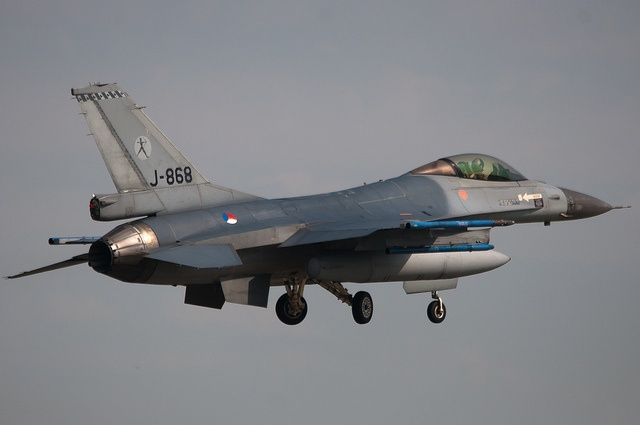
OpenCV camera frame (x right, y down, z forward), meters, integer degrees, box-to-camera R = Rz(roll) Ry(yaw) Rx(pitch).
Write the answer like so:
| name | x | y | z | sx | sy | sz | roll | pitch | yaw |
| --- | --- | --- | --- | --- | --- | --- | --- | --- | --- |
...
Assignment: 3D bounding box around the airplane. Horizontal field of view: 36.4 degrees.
| name | x | y | z | sx | sy | sz | roll | pitch | yaw |
| --- | --- | --- | --- | --- | --- | --- | --- | --- | --- |
| airplane | -0.261 | 0.311 | 18.625 | 8.184 | 3.048 | 5.850 | -1 | -2 | -28 |
